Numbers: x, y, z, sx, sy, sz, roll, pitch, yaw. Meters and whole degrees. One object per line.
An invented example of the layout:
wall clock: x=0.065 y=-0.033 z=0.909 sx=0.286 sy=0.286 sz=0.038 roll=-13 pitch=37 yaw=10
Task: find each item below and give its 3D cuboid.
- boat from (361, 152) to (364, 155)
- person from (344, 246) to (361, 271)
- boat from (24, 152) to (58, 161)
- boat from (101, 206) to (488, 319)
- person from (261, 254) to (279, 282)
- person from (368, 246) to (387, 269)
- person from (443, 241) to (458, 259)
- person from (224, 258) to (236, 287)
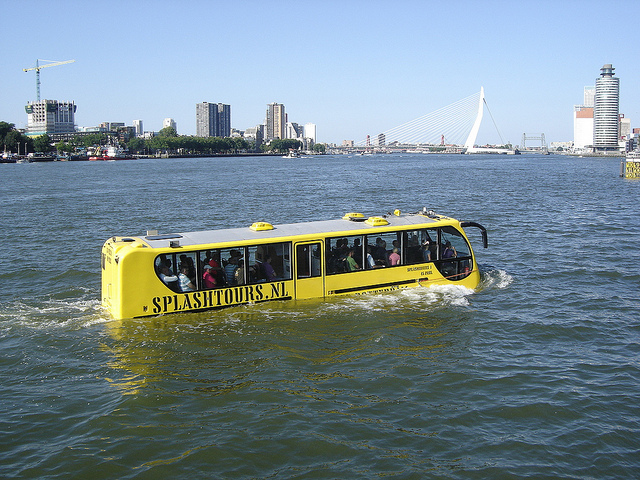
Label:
boat: x=19.850 y=-42.437 z=391.734 sx=1.291 sy=1.026 sz=3.713 roll=-2 pitch=5 yaw=9
person: x=0.916 y=0.566 z=24.858 sx=0.452 sy=0.749 sz=0.573 roll=-24 pitch=26 yaw=-34
boat: x=-68.196 y=-19.694 z=195.323 sx=8.250 sy=1.692 sz=2.515 roll=-5 pitch=11 yaw=-26
boat: x=-0.351 y=1.037 z=25.511 sx=11.853 sy=2.852 sz=2.346 roll=-5 pitch=2 yaw=-24
person: x=-1.538 y=0.808 z=23.827 sx=0.524 sy=0.806 sz=0.120 roll=-1 pitch=11 yaw=-8
person: x=1.597 y=0.585 z=25.162 sx=0.699 sy=0.735 sz=0.510 roll=-2 pitch=3 yaw=-15
person: x=4.190 y=0.305 z=26.290 sx=0.276 sy=0.790 sz=0.278 roll=-28 pitch=39 yaw=-35
person: x=-2.649 y=0.913 z=23.443 sx=0.292 sy=0.658 sz=0.513 roll=0 pitch=6 yaw=-15
